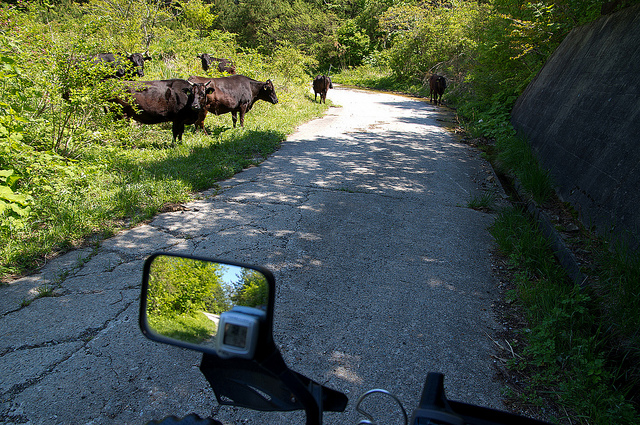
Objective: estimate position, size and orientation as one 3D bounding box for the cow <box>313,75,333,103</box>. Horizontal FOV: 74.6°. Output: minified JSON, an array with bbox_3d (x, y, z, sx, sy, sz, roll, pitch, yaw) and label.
[{"bbox_3d":[0.080,-6.889,23.389,0.875,1.571,1.772,3,28,-3],"label":"cow"}]

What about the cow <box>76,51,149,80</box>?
[{"bbox_3d":[-5.056,-3.395,10.187,1.728,0.918,0.558,3,10,10],"label":"cow"}]

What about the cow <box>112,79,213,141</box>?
[{"bbox_3d":[-4.306,-2.952,12.169,2.343,1.796,1.220,-5,29,-19],"label":"cow"}]

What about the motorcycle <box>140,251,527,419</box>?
[{"bbox_3d":[0.210,1.369,4.511,4.377,1.760,0.574,10,24,5],"label":"motorcycle"}]
